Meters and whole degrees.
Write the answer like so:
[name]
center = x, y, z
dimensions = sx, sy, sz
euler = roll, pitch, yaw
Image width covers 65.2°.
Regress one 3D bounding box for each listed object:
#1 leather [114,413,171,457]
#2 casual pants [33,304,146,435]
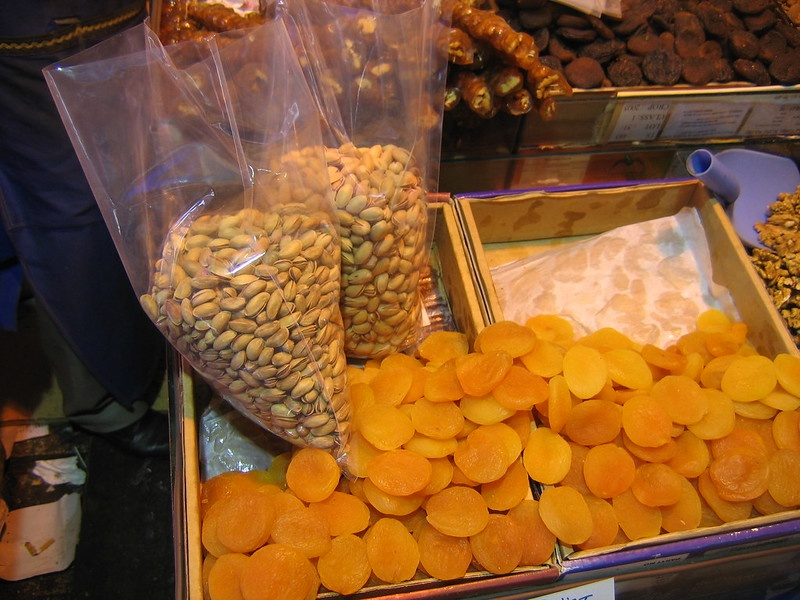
[leather]
center = -0.756, 0.414, 1.923
dimensions = 0.199, 0.088, 0.130
euler = 4, 80, -15
[casual pants]
center = -0.847, 0.193, 1.730
dimensions = 0.260, 0.399, 0.130
euler = -11, 42, -10
